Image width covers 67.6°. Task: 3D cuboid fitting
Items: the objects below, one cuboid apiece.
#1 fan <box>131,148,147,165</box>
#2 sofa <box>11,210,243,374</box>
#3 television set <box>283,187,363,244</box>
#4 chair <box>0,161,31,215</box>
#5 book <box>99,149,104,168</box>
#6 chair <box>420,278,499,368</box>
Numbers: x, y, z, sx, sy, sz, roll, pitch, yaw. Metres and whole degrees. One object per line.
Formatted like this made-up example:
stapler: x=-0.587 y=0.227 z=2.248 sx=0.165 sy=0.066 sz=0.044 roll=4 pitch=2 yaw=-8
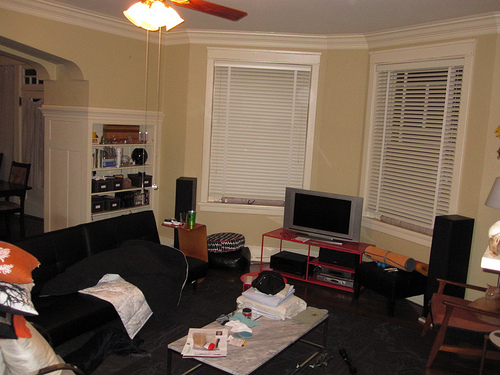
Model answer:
fan: x=-1.844 y=-0.516 z=6.144 sx=0.258 sy=0.249 sz=0.078 roll=-3 pitch=4 yaw=-2
sofa: x=-1.344 y=1.220 z=3.789 sx=1.495 sy=0.699 sz=1.835 roll=8 pitch=13 yaw=35
television set: x=1.059 y=0.432 z=5.406 sx=0.844 sy=0.550 sz=0.227 roll=7 pitch=4 yaw=23
chair: x=-3.965 y=0.018 z=6.330 sx=0.440 sy=0.822 sz=0.981 roll=-3 pitch=13 yaw=-30
book: x=-2.243 y=-0.438 z=5.650 sx=0.060 sy=0.266 sz=0.137 roll=-1 pitch=13 yaw=-23
chair: x=2.258 y=1.384 z=3.970 sx=0.723 sy=0.717 sz=1.146 roll=10 pitch=13 yaw=27
